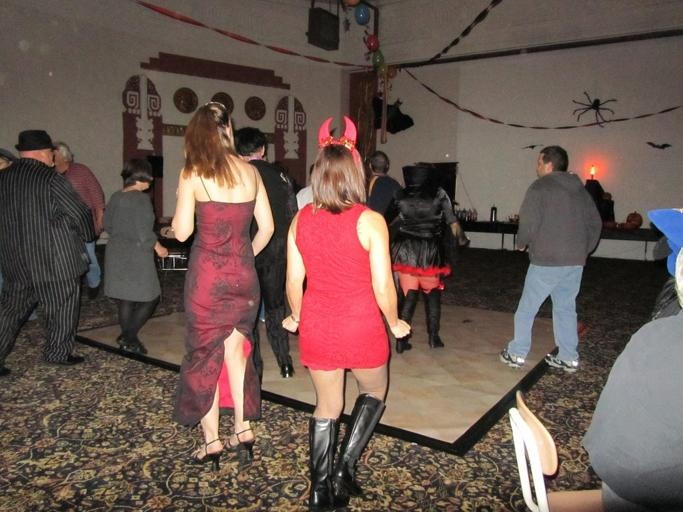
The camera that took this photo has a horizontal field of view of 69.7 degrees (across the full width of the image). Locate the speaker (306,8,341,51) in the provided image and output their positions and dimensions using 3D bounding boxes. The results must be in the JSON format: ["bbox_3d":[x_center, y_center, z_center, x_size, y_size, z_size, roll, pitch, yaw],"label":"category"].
[{"bbox_3d":[-0.468,-5.495,11.900,0.386,0.953,1.132,3,6,32],"label":"speaker"}]

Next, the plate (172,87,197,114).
[{"bbox_3d":[-3.448,-3.430,10.824,0.520,0.509,0.105,-20,20,-40],"label":"plate"}]

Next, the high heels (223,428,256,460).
[{"bbox_3d":[-0.655,1.160,3.144,0.115,0.147,0.280,-5,14,-39],"label":"high heels"}]

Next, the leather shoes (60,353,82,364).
[{"bbox_3d":[-2.368,0.897,4.311,0.125,0.094,0.078,22,-1,-27],"label":"leather shoes"}]

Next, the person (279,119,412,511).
[{"bbox_3d":[0.036,0.361,2.732,0.601,1.913,0.535,-4,13,-22],"label":"person"}]

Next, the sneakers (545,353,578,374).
[{"bbox_3d":[1.937,0.927,4.398,0.110,0.130,0.289,-5,23,-43],"label":"sneakers"}]

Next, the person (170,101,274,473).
[{"bbox_3d":[-0.735,0.176,2.972,0.464,2.144,0.493,5,13,19],"label":"person"}]

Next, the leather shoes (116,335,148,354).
[{"bbox_3d":[-1.927,0.807,4.504,0.259,0.099,0.149,16,4,-11],"label":"leather shoes"}]

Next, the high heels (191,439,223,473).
[{"bbox_3d":[-0.820,1.196,3.011,0.106,0.120,0.278,-4,11,-45],"label":"high heels"}]

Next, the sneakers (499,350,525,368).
[{"bbox_3d":[1.503,0.915,4.393,0.101,0.117,0.238,-6,20,-27],"label":"sneakers"}]
